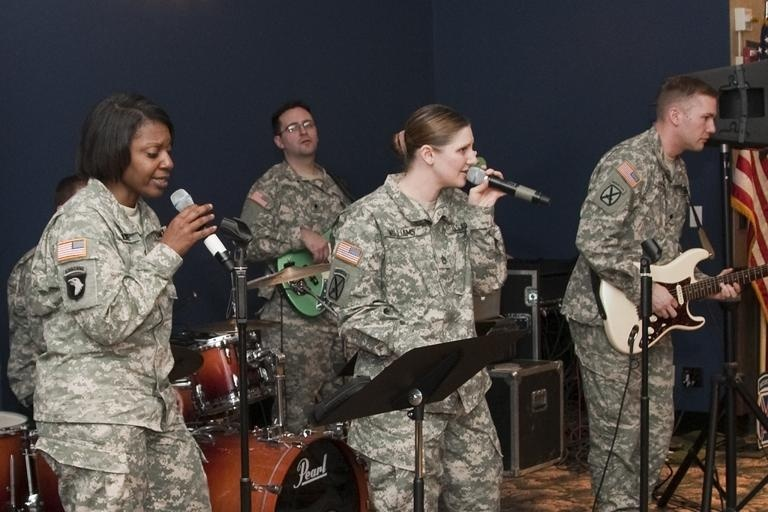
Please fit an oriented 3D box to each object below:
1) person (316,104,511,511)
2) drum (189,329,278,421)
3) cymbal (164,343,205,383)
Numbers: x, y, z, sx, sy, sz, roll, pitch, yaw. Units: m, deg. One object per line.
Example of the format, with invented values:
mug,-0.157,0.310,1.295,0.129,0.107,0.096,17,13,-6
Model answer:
person,0.176,0.241,3.616,0.778,1.833,0.418,-4,-3,-4
drum,-0.855,0.630,4.496,0.466,0.387,0.393,-20,-10,-6
cymbal,-0.947,0.504,3.918,0.181,0.041,0.186,-40,-38,17
